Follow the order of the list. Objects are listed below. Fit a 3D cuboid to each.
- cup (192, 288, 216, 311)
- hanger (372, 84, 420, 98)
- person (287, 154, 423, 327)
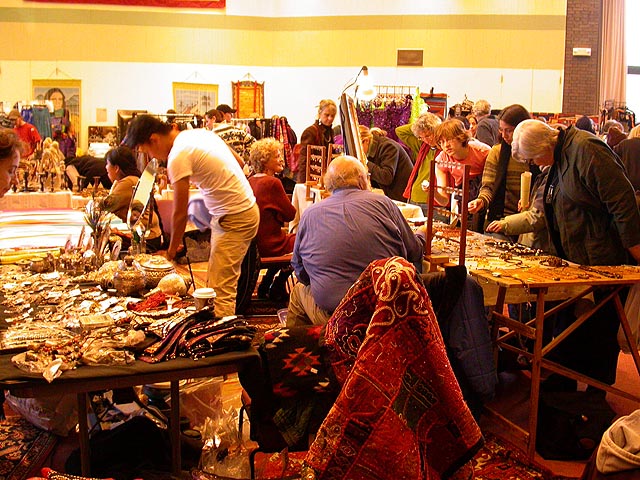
[{"bbox_3d":[-0.551,0.263,2.326,0.087,0.086,0.095,1,6,0],"label":"cup"},{"bbox_3d":[1.713,-3.430,11.557,0.883,0.262,0.414,6,14,24],"label":"hanger"},{"bbox_3d":[0.216,0.255,3.245,0.800,1.563,0.835,-4,11,8],"label":"person"}]
